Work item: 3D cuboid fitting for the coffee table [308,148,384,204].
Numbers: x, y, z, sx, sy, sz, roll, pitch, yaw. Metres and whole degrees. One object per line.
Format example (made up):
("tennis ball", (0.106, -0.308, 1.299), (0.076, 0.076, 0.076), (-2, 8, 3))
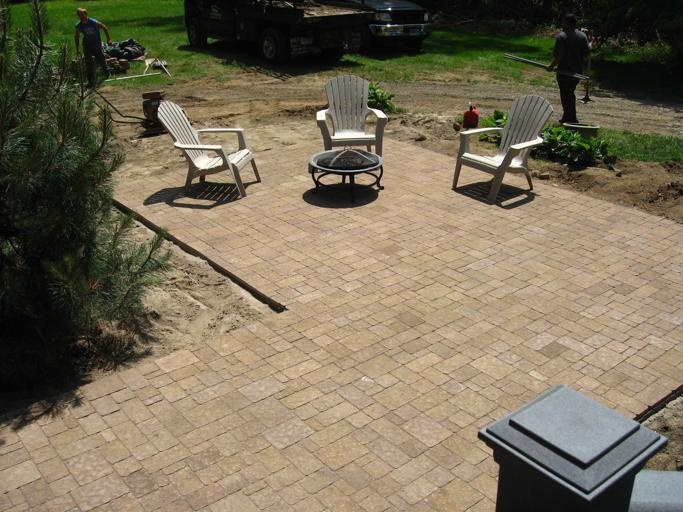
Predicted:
("coffee table", (0.042, -1.136, 8.470), (1.385, 0.584, 1.050), (-1, 32, 0))

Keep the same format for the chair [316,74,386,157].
("chair", (0.150, -2.355, 9.370), (1.309, 1.246, 0.938), (-4, 45, -4))

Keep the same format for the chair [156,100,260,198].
("chair", (-2.120, -1.688, 8.325), (1.536, 1.291, 1.088), (6, 35, 7))

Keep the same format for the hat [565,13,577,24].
("hat", (4.791, -4.953, 11.135), (0.217, 0.206, 0.354), (11, 33, 15))
